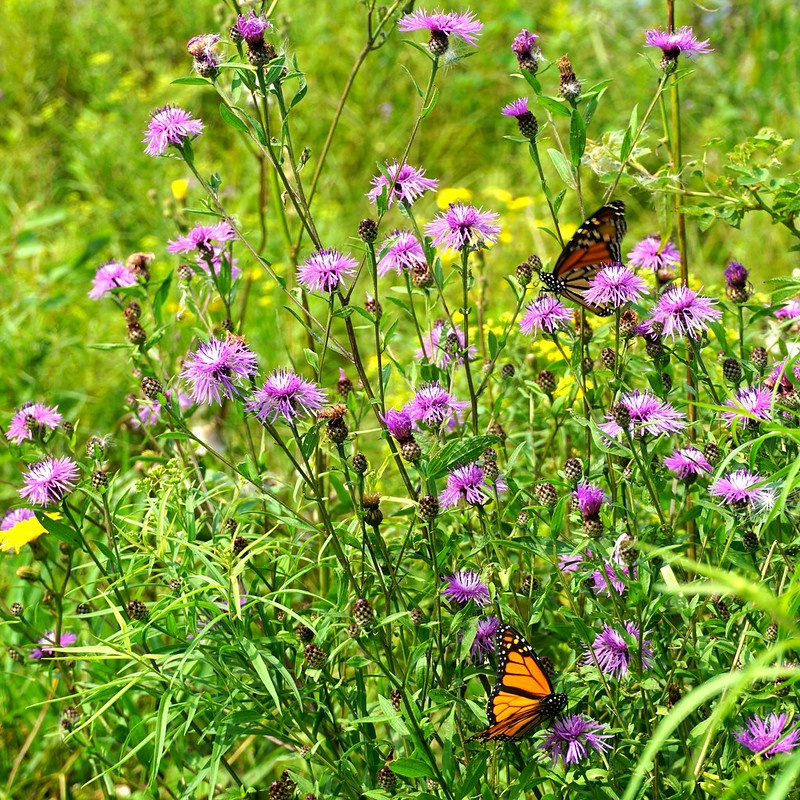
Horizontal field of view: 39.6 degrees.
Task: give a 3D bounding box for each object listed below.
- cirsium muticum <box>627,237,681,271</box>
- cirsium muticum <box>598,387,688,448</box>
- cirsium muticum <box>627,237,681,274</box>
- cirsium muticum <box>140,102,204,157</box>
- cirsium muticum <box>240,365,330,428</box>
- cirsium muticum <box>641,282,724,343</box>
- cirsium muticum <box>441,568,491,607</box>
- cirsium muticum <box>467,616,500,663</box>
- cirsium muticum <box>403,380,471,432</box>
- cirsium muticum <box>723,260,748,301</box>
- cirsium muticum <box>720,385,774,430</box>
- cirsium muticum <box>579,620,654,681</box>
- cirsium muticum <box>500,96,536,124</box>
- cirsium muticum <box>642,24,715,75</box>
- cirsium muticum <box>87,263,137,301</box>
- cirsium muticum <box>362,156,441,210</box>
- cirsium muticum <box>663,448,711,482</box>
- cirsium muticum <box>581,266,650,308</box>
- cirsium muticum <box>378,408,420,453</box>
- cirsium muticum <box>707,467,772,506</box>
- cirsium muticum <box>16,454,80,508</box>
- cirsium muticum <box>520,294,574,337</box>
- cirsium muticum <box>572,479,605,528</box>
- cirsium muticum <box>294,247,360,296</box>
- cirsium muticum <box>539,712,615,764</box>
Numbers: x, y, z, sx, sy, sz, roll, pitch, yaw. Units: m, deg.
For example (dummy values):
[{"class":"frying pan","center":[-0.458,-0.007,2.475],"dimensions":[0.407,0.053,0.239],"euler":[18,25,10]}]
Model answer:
[{"class":"cirsium muticum","center":[0.712,-0.400,3.069],"dimensions":[0.105,0.087,0.110],"euler":[-7,7,-26]},{"class":"cirsium muticum","center":[0.621,0.028,2.774],"dimensions":[0.139,0.100,0.149],"euler":[-19,24,-8]},{"class":"cirsium muticum","center":[0.704,-0.400,3.089],"dimensions":[0.110,0.090,0.114],"euler":[9,16,43]},{"class":"cirsium muticum","center":[-0.601,-0.711,2.897],"dimensions":[0.109,0.087,0.119],"euler":[-5,7,18]},{"class":"cirsium muticum","center":[-0.272,-0.019,2.709],"dimensions":[0.152,0.119,0.138],"euler":[1,-9,-40]},{"class":"cirsium muticum","center":[0.706,-0.240,2.880],"dimensions":[0.102,0.120,0.091],"euler":[0,1,-39]},{"class":"cirsium muticum","center":[0.167,0.472,2.817],"dimensions":[0.078,0.070,0.089],"euler":[4,20,-5]},{"class":"cirsium muticum","center":[0.215,0.596,2.859],"dimensions":[0.092,0.130,0.109],"euler":[-1,16,-4]},{"class":"cirsium muticum","center":[0.082,0.011,2.858],"dimensions":[0.111,0.114,0.128],"euler":[4,46,22]},{"class":"cirsium muticum","center":[0.942,-0.334,3.130],"dimensions":[0.084,0.149,0.083],"euler":[-1,6,20]},{"class":"cirsium muticum","center":[0.889,0.016,2.836],"dimensions":[0.071,0.055,0.075],"euler":[-33,20,0]},{"class":"cirsium muticum","center":[0.557,0.633,2.832],"dimensions":[0.150,0.122,0.174],"euler":[-16,40,11]},{"class":"cirsium muticum","center":[0.307,-0.771,2.919],"dimensions":[0.071,0.060,0.078],"euler":[-21,30,-6]},{"class":"cirsium muticum","center":[0.720,-0.903,2.882],"dimensions":[0.158,0.099,0.194],"euler":[-2,54,9]},{"class":"cirsium muticum","center":[-0.850,-0.340,3.243],"dimensions":[0.117,0.090,0.123],"euler":[-33,10,5]},{"class":"cirsium muticum","center":[0.002,-0.530,2.845],"dimensions":[0.145,0.104,0.174],"euler":[-5,50,26]},{"class":"cirsium muticum","center":[0.741,0.162,2.863],"dimensions":[0.078,0.060,0.090],"euler":[-4,28,4]},{"class":"cirsium muticum","center":[0.537,-0.289,2.791],"dimensions":[0.111,0.115,0.121],"euler":[0,10,29]},{"class":"cirsium muticum","center":[-0.003,0.062,2.744],"dimensions":[0.073,0.097,0.076],"euler":[-20,-4,-28]},{"class":"cirsium muticum","center":[0.831,0.218,2.716],"dimensions":[0.086,0.070,0.099],"euler":[-8,26,8]},{"class":"cirsium muticum","center":[-0.951,0.239,3.021],"dimensions":[0.127,0.100,0.139],"euler":[-8,41,30]},{"class":"cirsium muticum","center":[0.387,-0.213,2.966],"dimensions":[0.106,0.088,0.115],"euler":[5,45,48]},{"class":"cirsium muticum","center":[0.451,0.265,2.732],"dimensions":[0.070,0.113,0.089],"euler":[0,-4,-6]},{"class":"cirsium muticum","center":[-0.183,-0.308,2.878],"dimensions":[0.135,0.113,0.124],"euler":[-52,26,-23]},{"class":"cirsium muticum","center":[0.431,0.811,2.700],"dimensions":[0.126,0.095,0.127],"euler":[-23,-7,-38]}]
